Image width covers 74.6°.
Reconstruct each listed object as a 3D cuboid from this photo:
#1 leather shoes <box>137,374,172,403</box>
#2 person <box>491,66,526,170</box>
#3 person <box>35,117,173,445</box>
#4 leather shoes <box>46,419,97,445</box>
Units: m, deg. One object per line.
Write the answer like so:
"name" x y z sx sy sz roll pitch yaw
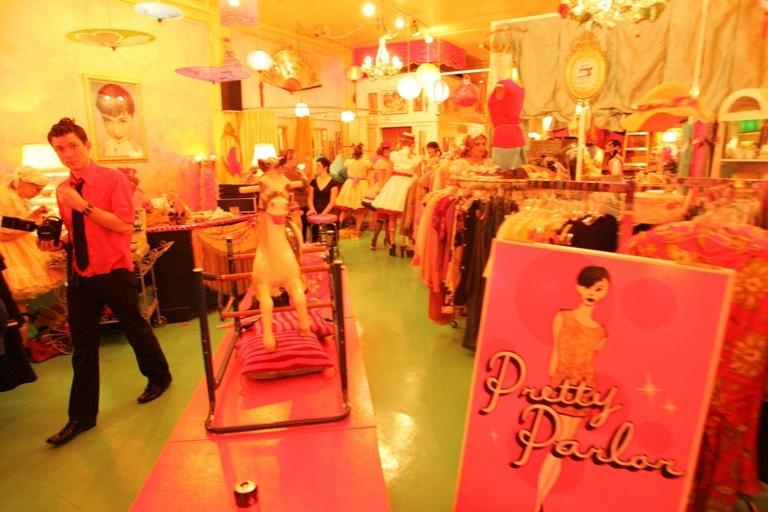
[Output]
"leather shoes" -1.865 1.085 4.142 0.120 0.114 0.317 3 6 13
"person" 1.035 -1.169 4.244 0.295 0.834 0.397 3 17 19
"person" -2.155 0.156 3.688 0.361 2.278 0.824 11 22 39
"leather shoes" -2.281 1.283 3.745 0.113 0.136 0.361 26 5 21
